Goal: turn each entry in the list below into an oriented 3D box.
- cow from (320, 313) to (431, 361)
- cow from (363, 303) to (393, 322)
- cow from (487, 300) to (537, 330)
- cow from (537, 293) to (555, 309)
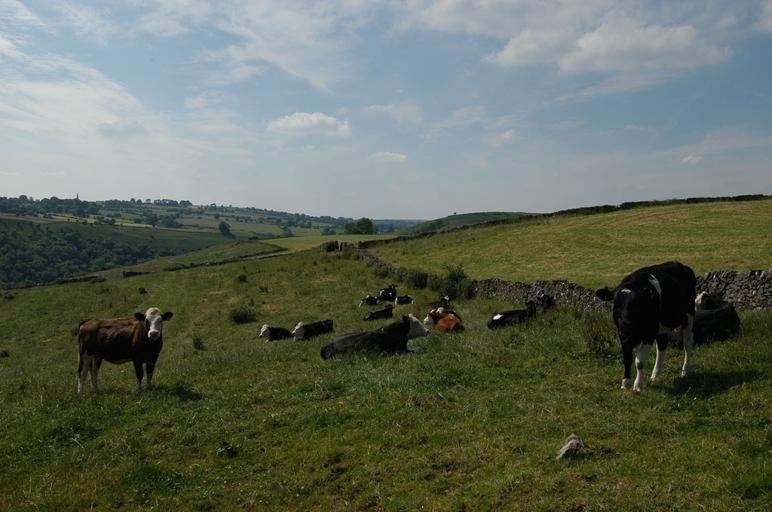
[{"bbox_3d":[-0.379,3.173,20.068,4.243,1.711,1.092,-8,-7,-2],"label":"cow"},{"bbox_3d":[-0.241,2.820,27.179,1.594,0.765,0.602,-12,32,-16],"label":"cow"},{"bbox_3d":[5.094,2.398,22.104,1.452,0.493,1.088,-21,2,-5],"label":"cow"},{"bbox_3d":[6.531,1.896,22.758,0.500,0.552,0.889,-1,5,44],"label":"cow"}]
